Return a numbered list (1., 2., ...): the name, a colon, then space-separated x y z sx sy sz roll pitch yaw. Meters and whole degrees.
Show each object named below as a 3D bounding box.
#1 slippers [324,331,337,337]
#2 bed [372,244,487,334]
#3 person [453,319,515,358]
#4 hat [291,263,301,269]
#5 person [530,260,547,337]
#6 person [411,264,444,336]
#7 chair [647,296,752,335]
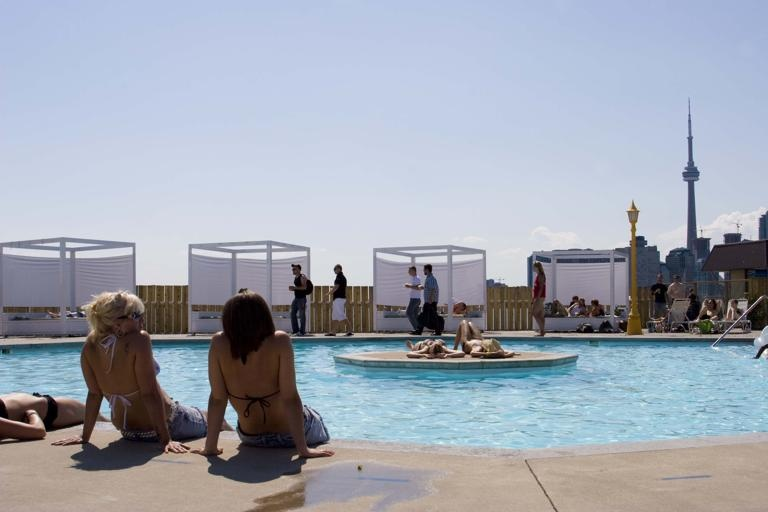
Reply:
1. slippers: -1.331 1.947 20.731 0.334 0.124 0.111 -1 -3 13
2. bed: 1.315 0.837 22.802 2.518 2.079 2.557 -2 1 20
3. person: 1.682 1.415 14.328 0.728 0.574 1.167 0 0 -24
4. hat: -2.118 0.226 20.493 0.198 0.088 0.192 3 -1 -37
5. person: 3.767 1.018 20.242 0.275 1.746 0.814 0 0 8
6. person: 1.108 1.048 20.388 0.648 1.730 1.373 0 0 4
7. chair: 8.472 1.579 21.819 1.673 0.969 3.869 0 0 -16
